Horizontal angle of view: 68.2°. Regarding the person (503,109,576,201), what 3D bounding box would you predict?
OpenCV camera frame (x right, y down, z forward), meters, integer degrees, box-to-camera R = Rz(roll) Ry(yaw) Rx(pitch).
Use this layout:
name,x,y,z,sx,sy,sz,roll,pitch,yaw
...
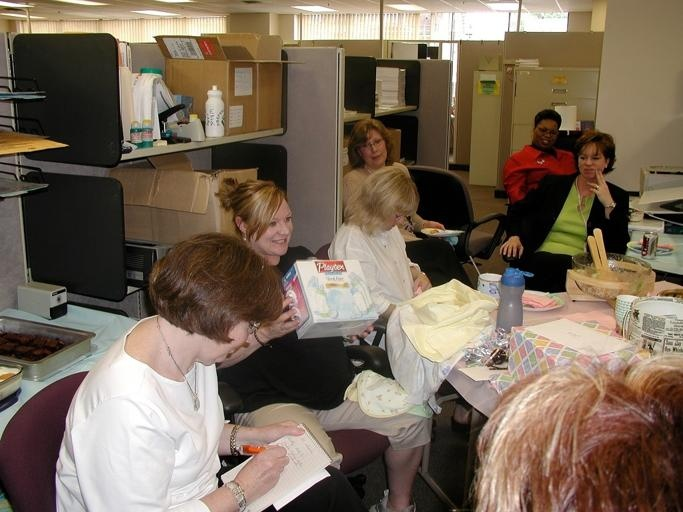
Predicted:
name,x,y,z,sx,sy,sz,roll,pitch,yaw
person,1.980,-0.899,4.886,0.699,1.010,0.590,1,-1,2

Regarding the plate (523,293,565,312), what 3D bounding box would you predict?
name,x,y,z,sx,sy,sz,roll,pitch,yaw
plate,0.794,0.183,1.999,0.102,0.012,0.103,-8,22,-17

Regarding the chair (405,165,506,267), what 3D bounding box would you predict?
name,x,y,z,sx,sy,sz,roll,pitch,yaw
chair,0.989,-0.224,4.280,0.792,1.074,0.841,5,13,34

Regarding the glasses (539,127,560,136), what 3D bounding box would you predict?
name,x,y,z,sx,sy,sz,roll,pitch,yaw
glasses,1.990,-1.192,4.813,0.098,0.035,0.105,1,35,3

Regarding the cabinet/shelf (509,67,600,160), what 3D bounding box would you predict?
name,x,y,z,sx,sy,sz,roll,pitch,yaw
cabinet/shelf,2.641,-1.776,6.380,1.086,1.057,0.612,0,6,-4

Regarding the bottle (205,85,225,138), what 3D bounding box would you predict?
name,x,y,z,sx,sy,sz,roll,pitch,yaw
bottle,-0.632,-0.728,2.529,0.122,0.257,0.091,-10,16,-28

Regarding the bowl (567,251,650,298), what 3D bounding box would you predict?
name,x,y,z,sx,sy,sz,roll,pitch,yaw
bowl,1.101,0.087,2.067,0.225,0.132,0.232,-3,15,1

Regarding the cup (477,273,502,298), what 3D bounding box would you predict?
name,x,y,z,sx,sy,sz,roll,pitch,yaw
cup,0.616,0.120,2.087,0.089,0.074,0.098,0,9,0

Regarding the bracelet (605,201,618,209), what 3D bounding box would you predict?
name,x,y,z,sx,sy,sz,roll,pitch,yaw
bracelet,1.656,-0.311,3.087,0.043,0.029,0.050,-3,2,17

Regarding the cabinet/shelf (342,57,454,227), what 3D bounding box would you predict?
name,x,y,z,sx,sy,sz,roll,pitch,yaw
cabinet/shelf,0.375,-0.710,3.616,0.706,0.973,1.354,4,17,17

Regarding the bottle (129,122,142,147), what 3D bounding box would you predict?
name,x,y,z,sx,sy,sz,roll,pitch,yaw
bottle,-0.829,-0.493,2.034,0.031,0.101,0.049,2,15,15

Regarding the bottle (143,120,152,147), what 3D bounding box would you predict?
name,x,y,z,sx,sy,sz,roll,pitch,yaw
bottle,-0.805,-0.511,2.091,0.040,0.111,0.067,-7,15,-20

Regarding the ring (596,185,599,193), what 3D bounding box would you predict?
name,x,y,z,sx,sy,sz,roll,pitch,yaw
ring,1.584,-0.415,3.115,0.025,0.032,0.012,-31,-6,-13

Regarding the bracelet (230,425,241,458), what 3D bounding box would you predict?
name,x,y,z,sx,sy,sz,roll,pitch,yaw
bracelet,-0.325,0.573,1.544,0.018,0.069,0.058,6,-21,-5
